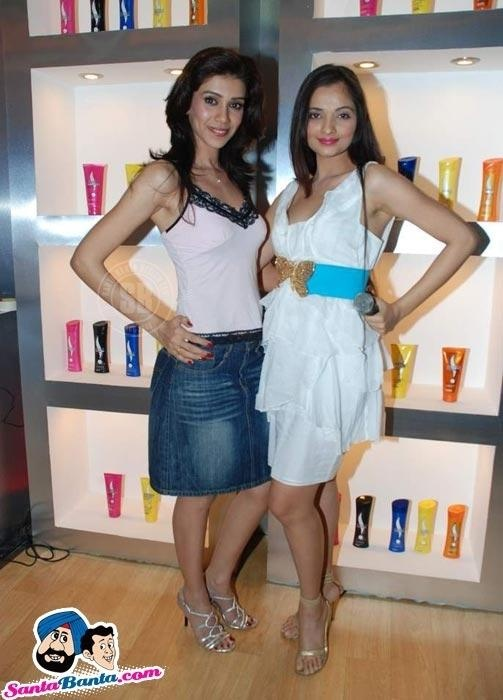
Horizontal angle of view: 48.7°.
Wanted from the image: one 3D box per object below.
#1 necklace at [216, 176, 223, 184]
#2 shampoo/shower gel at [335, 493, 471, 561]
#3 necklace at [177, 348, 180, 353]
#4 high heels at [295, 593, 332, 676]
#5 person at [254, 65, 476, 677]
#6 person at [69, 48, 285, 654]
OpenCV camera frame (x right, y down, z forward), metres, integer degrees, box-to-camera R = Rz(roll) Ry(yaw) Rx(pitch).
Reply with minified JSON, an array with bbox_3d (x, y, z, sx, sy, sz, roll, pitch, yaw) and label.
[{"bbox_3d":[-0.089,-0.467,1.537,0.023,0.020,0.005,-3,1,-36],"label":"necklace"},{"bbox_3d":[0.582,0.662,2.064,0.319,0.151,0.067,2,2,9],"label":"shampoo/shower gel"},{"bbox_3d":[-0.191,0.003,1.448,0.009,0.012,0.003,-1,12,24],"label":"necklace"},{"bbox_3d":[0.188,0.784,1.594,0.077,0.102,0.242,-5,40,22],"label":"high heels"},{"bbox_3d":[0.273,0.089,1.555,0.514,1.623,0.417,1,9,0],"label":"person"},{"bbox_3d":[-0.200,0.057,1.567,0.528,1.681,0.280,-3,10,-21],"label":"person"}]
